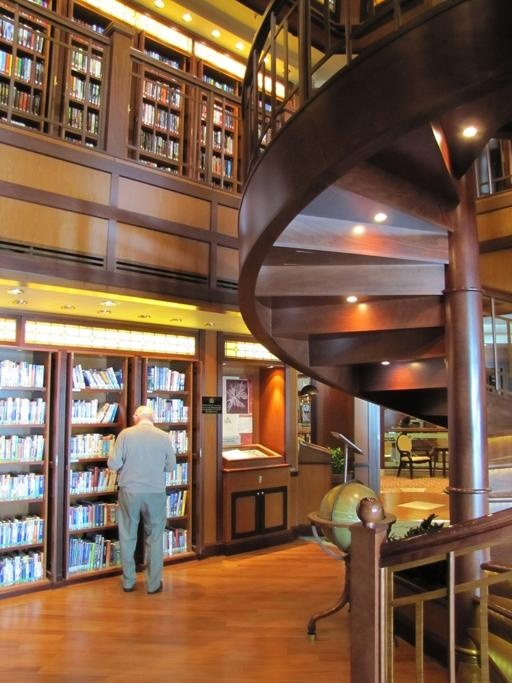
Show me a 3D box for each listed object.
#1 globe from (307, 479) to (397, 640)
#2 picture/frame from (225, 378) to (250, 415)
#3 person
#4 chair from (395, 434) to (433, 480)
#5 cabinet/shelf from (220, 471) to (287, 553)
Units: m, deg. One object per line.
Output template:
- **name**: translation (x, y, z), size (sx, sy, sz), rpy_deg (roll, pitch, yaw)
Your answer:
- **globe**: translation (0.605, 1.394, 3.564), size (0.581, 0.890, 0.598), rpy_deg (-2, -18, 12)
- **picture/frame**: translation (-0.226, 0.651, 6.552), size (0.019, 0.465, 0.404), rpy_deg (-10, -13, 41)
- **person**: translation (-0.928, 1.264, 4.540), size (0.525, 1.454, 0.275), rpy_deg (1, -7, -10)
- **chair**: translation (3.242, 2.336, 11.432), size (0.697, 0.888, 1.262), rpy_deg (-3, -7, 17)
- **cabinet/shelf**: translation (-0.050, 1.800, 5.863), size (0.819, 0.725, 0.340), rpy_deg (5, -12, -41)
